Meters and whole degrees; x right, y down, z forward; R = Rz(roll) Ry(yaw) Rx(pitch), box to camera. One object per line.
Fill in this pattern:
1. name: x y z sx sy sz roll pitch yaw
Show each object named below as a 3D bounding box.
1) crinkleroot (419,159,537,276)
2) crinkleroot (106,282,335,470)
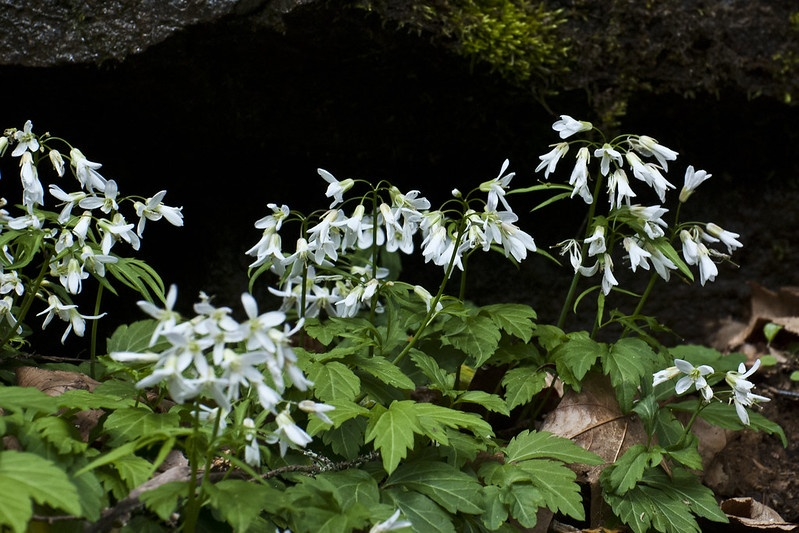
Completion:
1. crinkleroot: 0.508 -0.315 5.820 0.819 0.613 0.845 -20 14 22
2. crinkleroot: -1.076 0.722 4.777 1.232 1.295 0.532 4 -30 -27
